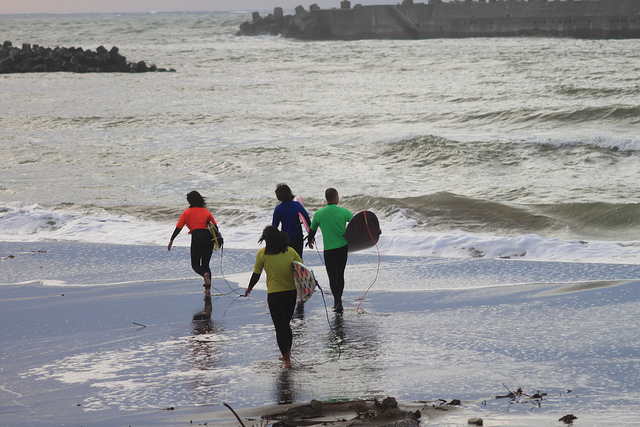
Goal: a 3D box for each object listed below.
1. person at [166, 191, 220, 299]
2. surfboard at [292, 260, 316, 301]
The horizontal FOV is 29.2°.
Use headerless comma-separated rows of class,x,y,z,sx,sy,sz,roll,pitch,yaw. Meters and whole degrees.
person,-4.013,0.960,40.983,1.164,3.320,0.914,6,16,42
surfboard,-0.514,2.118,38.752,0.685,1.314,0.241,-3,13,11
